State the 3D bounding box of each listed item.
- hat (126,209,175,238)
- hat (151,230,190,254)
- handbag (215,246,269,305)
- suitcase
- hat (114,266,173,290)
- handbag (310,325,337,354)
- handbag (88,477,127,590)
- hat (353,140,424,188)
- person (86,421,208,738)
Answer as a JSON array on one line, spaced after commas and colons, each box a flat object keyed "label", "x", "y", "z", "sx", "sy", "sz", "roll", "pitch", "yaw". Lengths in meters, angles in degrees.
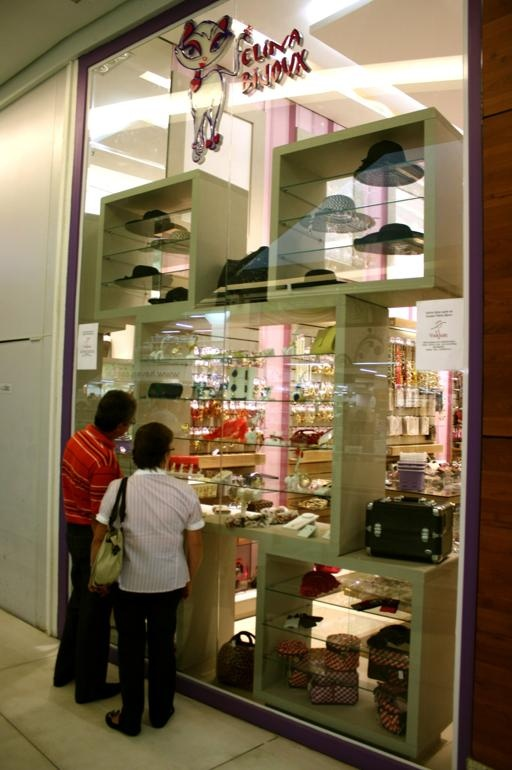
[{"label": "hat", "x": -0.594, "y": -0.910, "z": 3.468, "sx": 0.220, "sy": 0.067, "sz": 0.215, "roll": 1, "pitch": 4, "yaw": 19}, {"label": "hat", "x": -0.455, "y": -0.754, "z": 3.287, "sx": 0.133, "sy": 0.085, "sz": 0.213, "roll": 5, "pitch": 5, "yaw": -37}, {"label": "handbag", "x": -0.063, "y": -0.503, "z": 2.849, "sx": 0.068, "sy": 0.240, "sz": 0.256, "roll": 6, "pitch": -4, "yaw": -41}, {"label": "suitcase", "x": 0.577, "y": 0.535, "z": 2.292, "sx": 0.296, "sy": 0.217, "sz": 0.173, "roll": -2, "pitch": -5, "yaw": 35}, {"label": "hat", "x": -0.619, "y": -0.598, "z": 3.441, "sx": 0.219, "sy": 0.053, "sz": 0.208, "roll": 2, "pitch": 5, "yaw": 24}, {"label": "handbag", "x": 0.285, "y": -0.186, "z": 2.538, "sx": 0.026, "sy": 0.104, "sz": 0.108, "roll": 14, "pitch": 8, "yaw": -33}, {"label": "handbag", "x": -0.570, "y": 0.567, "z": 2.372, "sx": 0.119, "sy": 0.410, "sz": 0.081, "roll": 2, "pitch": -6, "yaw": -15}, {"label": "hat", "x": 0.511, "y": -0.843, "z": 2.359, "sx": 0.205, "sy": 0.086, "sz": 0.208, "roll": 4, "pitch": 5, "yaw": 22}, {"label": "person", "x": -0.409, "y": 0.801, "z": 2.533, "sx": 0.343, "sy": 1.272, "sz": 0.338, "roll": 2, "pitch": -6, "yaw": -14}]
